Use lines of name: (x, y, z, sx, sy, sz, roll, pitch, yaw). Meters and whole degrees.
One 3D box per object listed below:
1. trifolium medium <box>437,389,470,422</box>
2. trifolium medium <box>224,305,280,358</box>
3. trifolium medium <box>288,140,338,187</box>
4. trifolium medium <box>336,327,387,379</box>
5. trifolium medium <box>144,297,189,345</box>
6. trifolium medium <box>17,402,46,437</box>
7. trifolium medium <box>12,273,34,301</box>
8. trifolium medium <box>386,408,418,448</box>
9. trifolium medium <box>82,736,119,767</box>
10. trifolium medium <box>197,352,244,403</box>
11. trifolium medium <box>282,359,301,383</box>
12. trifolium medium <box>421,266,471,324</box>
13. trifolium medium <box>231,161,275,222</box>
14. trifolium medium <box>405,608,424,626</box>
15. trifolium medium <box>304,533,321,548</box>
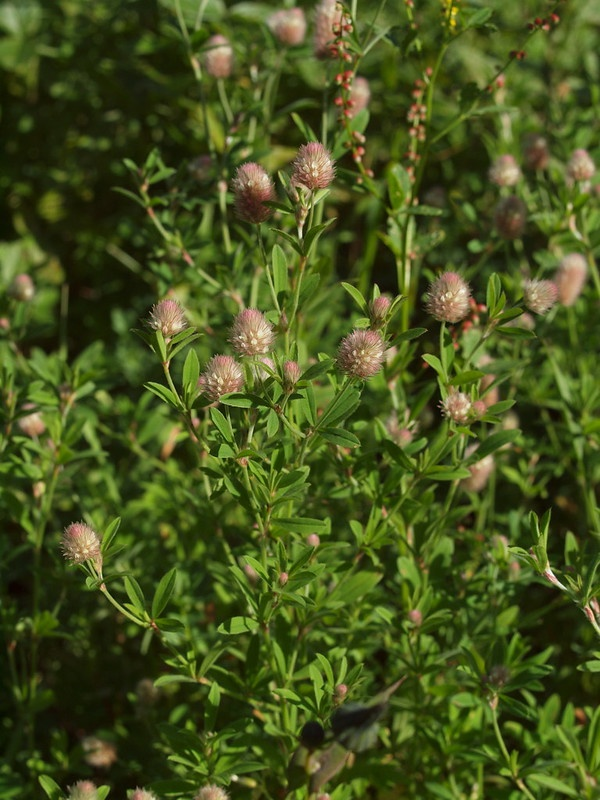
trifolium medium: (0.213, 0.007, 1.167, 0.045, 0.043, 0.038, 22, 55, -26)
trifolium medium: (-0.058, -0.092, 1.092, 0.067, 0.063, 0.063, 4, 22, 23)
trifolium medium: (0.022, -0.308, 1.149, 0.067, 0.056, 0.063, 10, 73, -28)
trifolium medium: (0.070, -0.064, 1.098, 0.072, 0.064, 0.063, 6, 10, -4)
trifolium medium: (-0.177, -0.101, 1.115, 0.041, 0.062, 0.049, 30, 60, 9)
trifolium medium: (-0.443, 0.030, 1.380, 0.030, 0.052, 0.026, -22, 52, -20)
trifolium medium: (-0.486, -0.204, 1.493, 0.037, 0.036, 0.066, 0, 33, -13)
trifolium medium: (0.170, 0.044, 1.431, 0.070, 0.100, 0.058, 0, 64, 3)
trifolium medium: (-0.390, 0.679, 1.630, 0.060, 0.104, 0.057, -16, 63, -17)
trifolium medium: (-0.101, -0.029, 1.080, 0.065, 0.061, 0.060, -10, 32, -12)
trifolium medium: (-0.011, -0.036, 1.078, 0.025, 0.025, 0.027, 0, 13, 3)
trifolium medium: (0.203, -0.138, 1.140, 0.073, 0.075, 0.068, -2, 90, 4)
trifolium medium: (-0.057, -0.280, 1.139, 0.058, 0.080, 0.065, -9, 22, -18)
trifolium medium: (0.172, 0.320, 1.237, 0.029, 0.029, 0.026, -2, 19, 2)
trifolium medium: (0.020, 0.207, 1.246, 0.023, 0.025, 0.019, 5, 84, 2)
